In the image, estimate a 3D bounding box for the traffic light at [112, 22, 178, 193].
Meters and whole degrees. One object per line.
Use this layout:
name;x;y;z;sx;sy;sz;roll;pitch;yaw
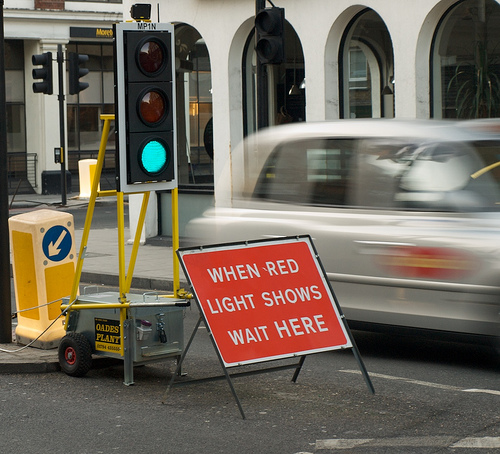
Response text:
traffic light;-0.818;-0.925;5.319;0.578;1.295;0.173;-4;6;-43

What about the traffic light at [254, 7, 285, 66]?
traffic light;0.297;-2.698;9.736;0.395;0.784;0.324;-1;4;-6

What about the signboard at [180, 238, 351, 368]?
signboard;0.126;0.510;4.939;1.217;0.787;0.389;-3;5;-26
